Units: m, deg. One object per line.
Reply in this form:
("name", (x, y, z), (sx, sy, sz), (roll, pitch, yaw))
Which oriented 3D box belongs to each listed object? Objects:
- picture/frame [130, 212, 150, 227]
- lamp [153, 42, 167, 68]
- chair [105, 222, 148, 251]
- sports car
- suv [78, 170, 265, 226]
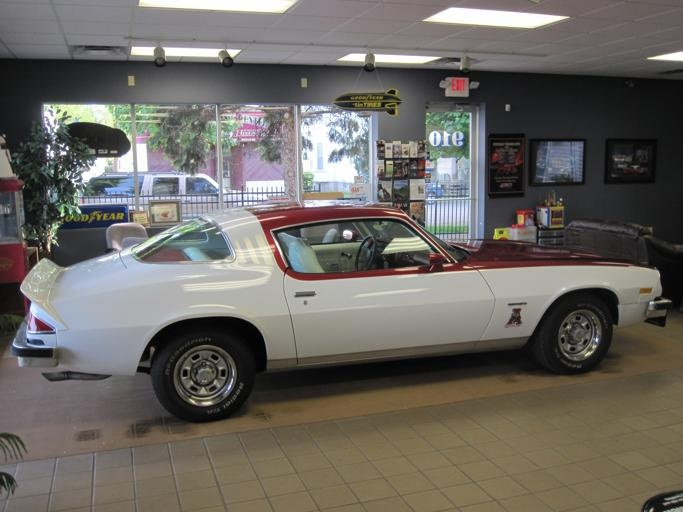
("picture/frame", (-3.813, -0.694, 8.338), (0.394, 0.371, 0.136), (0, 9, -15))
("lamp", (-2.857, -3.164, 6.963), (0.141, 0.387, 0.402), (-3, 8, -16))
("chair", (-3.205, -0.293, 6.574), (0.409, 0.532, 0.513), (-4, -23, -25))
("sports car", (0.273, 0.293, 4.507), (5.612, 1.556, 2.242), (-5, 6, -16))
("suv", (-3.450, -1.279, 9.439), (4.159, 1.272, 1.349), (-5, 6, -15))
